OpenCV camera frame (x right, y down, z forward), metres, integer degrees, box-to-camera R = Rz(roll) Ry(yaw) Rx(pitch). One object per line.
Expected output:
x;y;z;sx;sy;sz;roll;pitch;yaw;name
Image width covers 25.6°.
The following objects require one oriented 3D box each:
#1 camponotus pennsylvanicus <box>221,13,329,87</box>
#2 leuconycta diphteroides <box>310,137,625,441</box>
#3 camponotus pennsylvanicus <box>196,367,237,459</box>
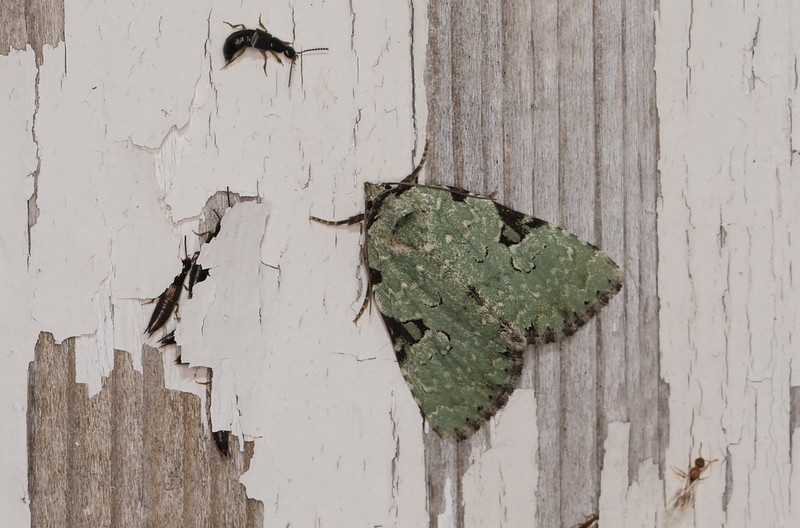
-0.427;-0.725;5.930;0.362;0.066;0.184;15;73;0;camponotus pennsylvanicus
0.216;0.015;5.963;0.780;0.298;0.853;-39;80;-14;leuconycta diphteroides
-0.622;0.492;5.951;0.094;0.047;0.300;-2;90;4;camponotus pennsylvanicus
